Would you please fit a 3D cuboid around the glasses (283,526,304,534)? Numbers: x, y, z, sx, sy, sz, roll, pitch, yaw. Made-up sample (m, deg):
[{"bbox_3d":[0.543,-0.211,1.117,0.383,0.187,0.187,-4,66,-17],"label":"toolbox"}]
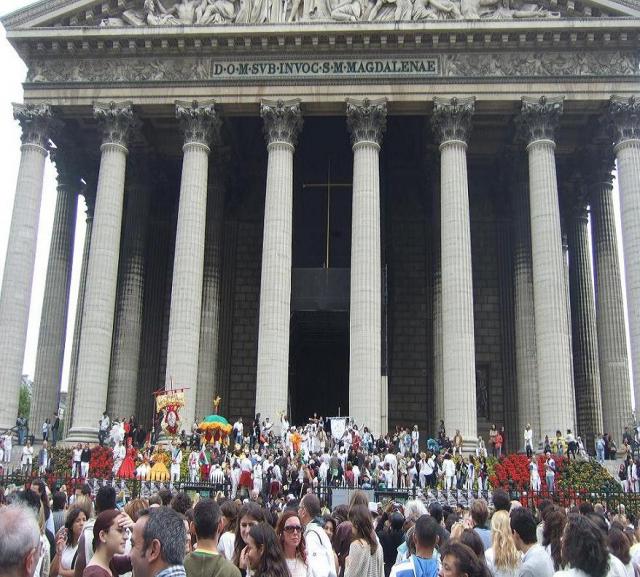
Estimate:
[{"bbox_3d":[-0.314,2.895,8.389,0.230,0.087,0.163,7,-18,-18],"label":"glasses"}]
